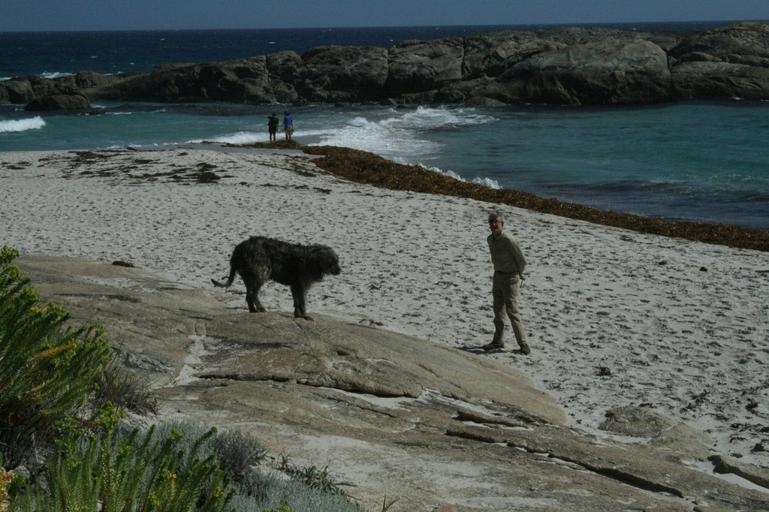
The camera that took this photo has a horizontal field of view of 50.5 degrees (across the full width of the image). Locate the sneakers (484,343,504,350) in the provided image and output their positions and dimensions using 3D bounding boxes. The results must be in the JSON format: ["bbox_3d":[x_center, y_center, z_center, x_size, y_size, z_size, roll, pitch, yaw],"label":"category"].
[{"bbox_3d":[2.815,2.313,20.898,0.614,0.209,0.186,2,-2,-8],"label":"sneakers"}]

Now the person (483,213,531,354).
[{"bbox_3d":[3.165,0.696,20.605,1.131,3.486,1.071,2,22,2],"label":"person"}]
